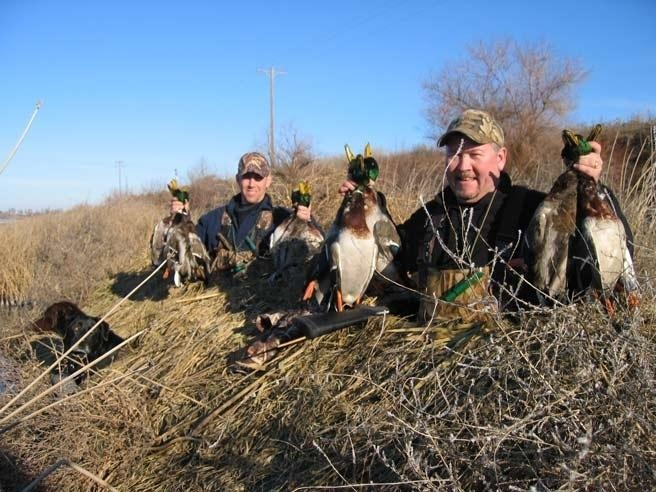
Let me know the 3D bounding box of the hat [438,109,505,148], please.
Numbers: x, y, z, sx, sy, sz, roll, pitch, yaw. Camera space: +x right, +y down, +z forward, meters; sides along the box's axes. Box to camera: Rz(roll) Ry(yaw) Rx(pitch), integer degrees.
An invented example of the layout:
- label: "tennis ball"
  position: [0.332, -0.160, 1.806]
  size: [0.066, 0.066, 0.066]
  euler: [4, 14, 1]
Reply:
- label: "hat"
  position: [1.191, -0.995, 4.669]
  size: [0.403, 0.315, 0.580]
  euler: [8, 4, 19]

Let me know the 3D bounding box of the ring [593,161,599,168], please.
- label: "ring"
  position: [1.832, -0.556, 3.785]
  size: [0.030, 0.049, 0.019]
  euler: [0, -4, 9]

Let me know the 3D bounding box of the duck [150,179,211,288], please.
- label: "duck"
  position: [-1.752, 0.042, 6.450]
  size: [0.481, 0.947, 0.868]
  euler: [-8, 12, -42]
